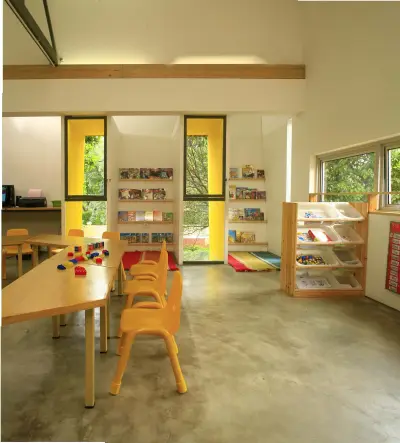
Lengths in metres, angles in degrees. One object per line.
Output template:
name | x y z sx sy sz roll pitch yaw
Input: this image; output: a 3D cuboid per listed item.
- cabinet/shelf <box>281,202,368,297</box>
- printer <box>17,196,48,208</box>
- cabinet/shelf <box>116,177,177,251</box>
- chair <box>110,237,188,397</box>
cabinet/shelf | 1.751 0.355 4.765 0.939 1.322 0.680 0 5 2
printer | -4.046 -0.456 8.097 0.485 0.187 0.273 2 4 -1
cabinet/shelf | -1.322 -0.212 8.230 1.427 1.726 0.437 -1 -4 -6
chair | -0.344 0.689 2.523 0.702 1.002 0.726 3 1 -6
